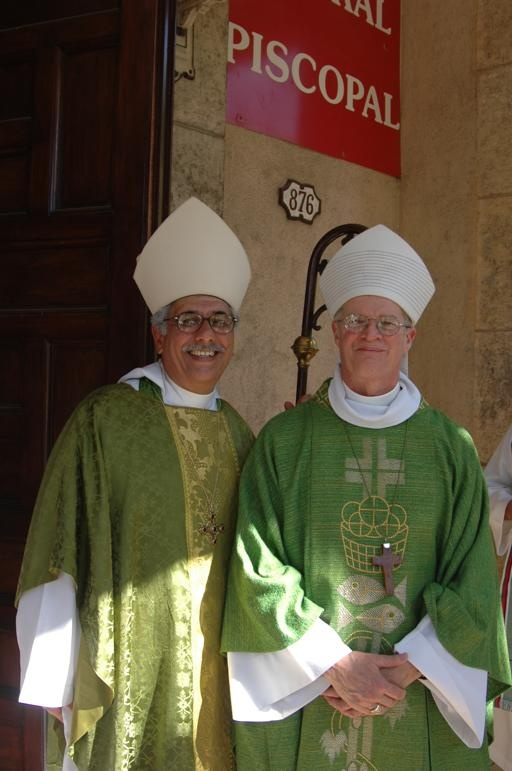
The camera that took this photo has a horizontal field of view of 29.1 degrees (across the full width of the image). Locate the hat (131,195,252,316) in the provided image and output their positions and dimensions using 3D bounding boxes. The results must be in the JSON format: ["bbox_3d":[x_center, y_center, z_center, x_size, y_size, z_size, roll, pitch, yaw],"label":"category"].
[{"bbox_3d":[-0.180,-0.369,2.830,0.398,0.313,0.109,-1,1,-33],"label":"hat"}]

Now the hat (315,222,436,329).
[{"bbox_3d":[0.335,-0.319,2.730,0.277,0.105,0.294,15,-42,9],"label":"hat"}]
